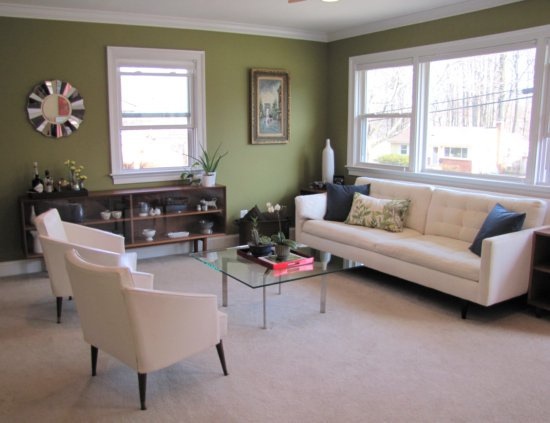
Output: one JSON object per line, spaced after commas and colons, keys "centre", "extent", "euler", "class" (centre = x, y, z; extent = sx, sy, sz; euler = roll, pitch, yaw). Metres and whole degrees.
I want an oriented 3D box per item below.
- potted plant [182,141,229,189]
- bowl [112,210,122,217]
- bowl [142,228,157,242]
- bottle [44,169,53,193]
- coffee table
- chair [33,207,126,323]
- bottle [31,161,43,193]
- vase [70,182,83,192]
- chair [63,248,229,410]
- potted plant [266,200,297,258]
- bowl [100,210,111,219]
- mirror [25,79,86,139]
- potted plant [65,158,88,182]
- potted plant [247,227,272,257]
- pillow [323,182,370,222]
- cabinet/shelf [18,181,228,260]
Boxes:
{"centre": [-0.950, -0.618, 5.719], "extent": [0.528, 0.480, 0.529], "euler": [-8, 12, -43], "class": "potted plant"}
{"centre": [-1.878, 0.030, 5.051], "extent": [0.067, 0.054, 0.069], "euler": [0, 4, 0], "class": "bowl"}
{"centre": [-1.558, 0.287, 5.258], "extent": [0.139, 0.110, 0.146], "euler": [1, 0, 0], "class": "bowl"}
{"centre": [-2.572, -0.345, 4.830], "extent": [0.093, 0.234, 0.310], "euler": [-6, 13, -28], "class": "bottle"}
{"centre": [-0.113, 0.506, 3.890], "extent": [0.945, 0.409, 0.941], "euler": [-4, 6, -36], "class": "coffee table"}
{"centre": [-1.659, 0.472, 4.220], "extent": [1.020, 1.289, 0.945], "euler": [-2, 9, -19], "class": "chair"}
{"centre": [-2.673, -0.385, 4.780], "extent": [0.121, 0.322, 0.312], "euler": [-6, 13, -29], "class": "bottle"}
{"centre": [-2.288, -0.282, 4.905], "extent": [0.096, 0.101, 0.096], "euler": [0, 6, -34], "class": "vase"}
{"centre": [-0.840, 0.611, 3.081], "extent": [0.948, 1.121, 0.998], "euler": [9, 12, 43], "class": "chair"}
{"centre": [0.058, 0.182, 3.829], "extent": [0.283, 0.497, 0.261], "euler": [5, 12, 39], "class": "potted plant"}
{"centre": [-1.989, 0.037, 5.002], "extent": [0.093, 0.078, 0.092], "euler": [4, 11, -1], "class": "bowl"}
{"centre": [-2.551, -1.185, 4.880], "extent": [0.702, 0.765, 0.031], "euler": [-1, 9, -32], "class": "mirror"}
{"centre": [-2.337, -0.478, 4.999], "extent": [0.237, 0.259, 0.203], "euler": [-5, 13, -24], "class": "potted plant"}
{"centre": [-0.157, 0.325, 4.092], "extent": [0.211, 0.273, 0.281], "euler": [0, -3, -4], "class": "potted plant"}
{"centre": [0.936, -0.099, 5.529], "extent": [0.560, 0.542, 0.216], "euler": [4, -3, 6], "class": "pillow"}
{"centre": [-1.571, 0.214, 5.279], "extent": [1.968, 0.852, 0.395], "euler": [-5, 0, 5], "class": "cabinet/shelf"}
